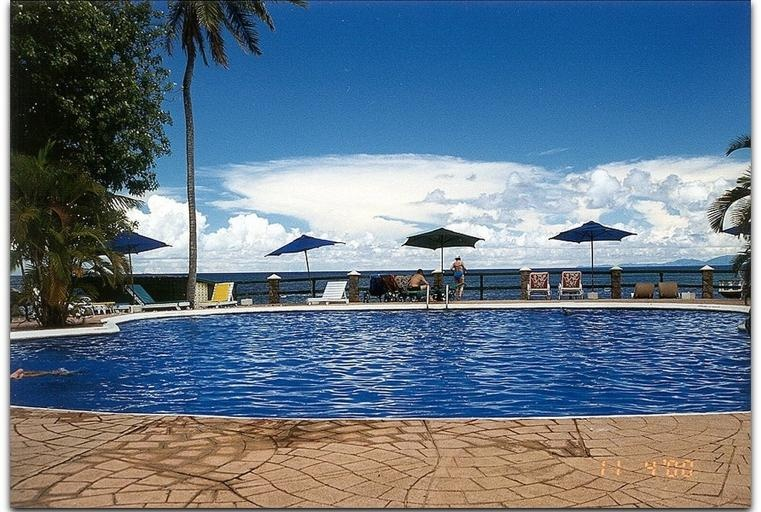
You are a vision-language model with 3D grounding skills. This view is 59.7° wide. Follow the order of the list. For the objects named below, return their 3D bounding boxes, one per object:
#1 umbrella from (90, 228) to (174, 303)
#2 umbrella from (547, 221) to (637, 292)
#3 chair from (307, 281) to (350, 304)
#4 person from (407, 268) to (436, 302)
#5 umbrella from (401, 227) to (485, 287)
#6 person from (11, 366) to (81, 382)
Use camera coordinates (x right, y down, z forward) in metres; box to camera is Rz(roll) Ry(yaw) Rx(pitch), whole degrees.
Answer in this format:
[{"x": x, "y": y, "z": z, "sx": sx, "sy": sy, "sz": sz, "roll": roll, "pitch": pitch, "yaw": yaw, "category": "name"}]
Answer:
[{"x": -8.914, "y": 0.442, "z": 23.593, "sx": 2.872, "sy": 2.503, "sz": 3.035, "roll": -7, "pitch": -4, "yaw": 20, "category": "umbrella"}, {"x": 9.195, "y": 0.019, "z": 27.876, "sx": 2.844, "sy": 2.416, "sz": 2.919, "roll": -2, "pitch": -1, "yaw": 43, "category": "umbrella"}, {"x": -2.038, "y": 1.420, "z": 25.706, "sx": 1.412, "sy": 0.840, "sz": 1.057, "roll": 0, "pitch": -1, "yaw": -6, "category": "chair"}, {"x": 1.506, "y": 1.105, "z": 25.285, "sx": 0.995, "sy": 1.178, "sz": 1.842, "roll": 0, "pitch": -1, "yaw": -12, "category": "person"}, {"x": 2.290, "y": -0.418, "z": 27.340, "sx": 2.357, "sy": 1.404, "sz": 2.250, "roll": 1, "pitch": -11, "yaw": -9, "category": "umbrella"}, {"x": -6.746, "y": 2.361, "z": 13.192, "sx": 1.392, "sy": 0.256, "sz": 0.395, "roll": 1, "pitch": 1, "yaw": -25, "category": "person"}]
